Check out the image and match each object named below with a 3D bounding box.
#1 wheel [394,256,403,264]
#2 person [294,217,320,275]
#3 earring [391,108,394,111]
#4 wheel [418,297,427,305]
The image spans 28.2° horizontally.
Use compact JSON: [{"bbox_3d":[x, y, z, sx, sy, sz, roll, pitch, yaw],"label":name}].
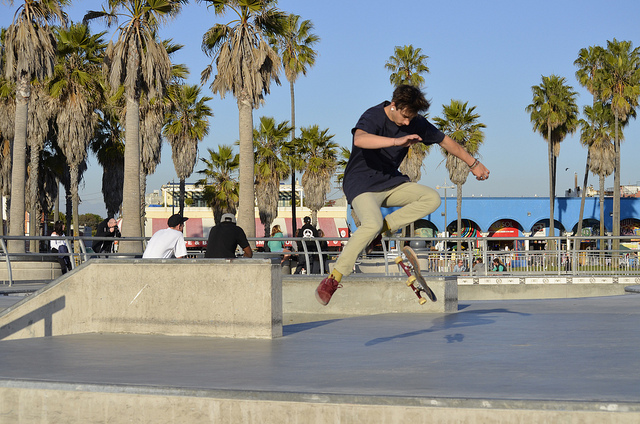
[{"bbox_3d":[2.796,1.691,45.049,0.456,0.282,0.671,-9,-4,4],"label":"wheel"},{"bbox_3d":[-0.556,1.457,55.678,0.895,2.614,0.879,0,-1,2],"label":"person"},{"bbox_3d":[2.493,-3.561,43.419,0.074,0.082,0.020,-3,-3,-2],"label":"earring"},{"bbox_3d":[3.529,3.082,43.671,0.233,0.184,0.237,-6,-2,0],"label":"wheel"}]
